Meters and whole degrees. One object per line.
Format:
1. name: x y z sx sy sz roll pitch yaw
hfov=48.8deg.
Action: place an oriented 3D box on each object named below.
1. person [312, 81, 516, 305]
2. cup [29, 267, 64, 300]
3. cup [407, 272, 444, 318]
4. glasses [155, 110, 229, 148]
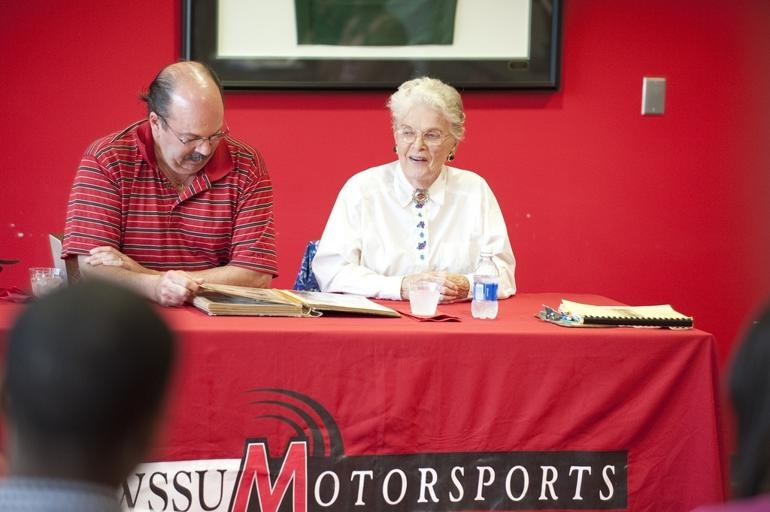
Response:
1. person: 0.133 -0.244 3.273 0.762 0.898 0.593 -2 7 -18
2. cup: -0.984 0.081 2.472 0.078 0.062 0.071 2 2 0
3. cup: 0.133 0.137 2.859 0.109 0.134 0.120 1 0 1
4. glasses: -0.696 -0.445 3.060 0.222 0.095 0.095 0 9 -24
